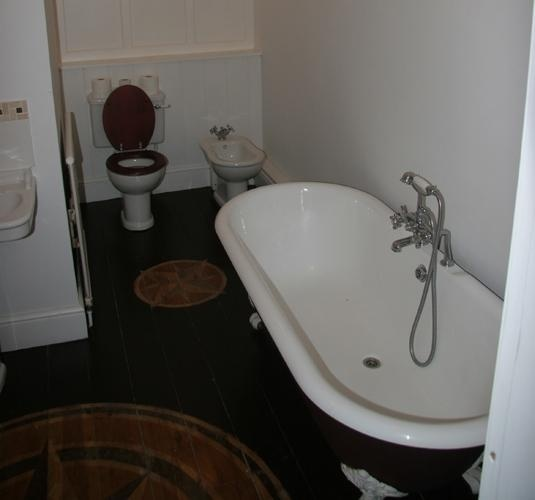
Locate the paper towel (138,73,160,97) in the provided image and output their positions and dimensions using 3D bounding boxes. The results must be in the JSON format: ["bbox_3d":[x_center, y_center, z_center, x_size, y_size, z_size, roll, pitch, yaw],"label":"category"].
[{"bbox_3d":[-1.002,-1.419,3.789,0.154,0.139,0.183,-10,53,-20],"label":"paper towel"}]

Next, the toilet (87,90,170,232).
[{"bbox_3d":[-1.079,-0.756,3.663,0.467,1.065,0.629,-11,28,-20],"label":"toilet"}]

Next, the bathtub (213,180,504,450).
[{"bbox_3d":[0.506,0.306,2.157,0.641,0.386,1.515,-5,30,-12],"label":"bathtub"}]

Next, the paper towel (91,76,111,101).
[{"bbox_3d":[-1.348,-1.302,3.659,0.147,0.188,0.175,-7,50,-26],"label":"paper towel"}]

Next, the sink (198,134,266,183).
[{"bbox_3d":[-0.308,-0.772,3.914,0.456,0.265,0.720,-11,31,-18],"label":"sink"}]
